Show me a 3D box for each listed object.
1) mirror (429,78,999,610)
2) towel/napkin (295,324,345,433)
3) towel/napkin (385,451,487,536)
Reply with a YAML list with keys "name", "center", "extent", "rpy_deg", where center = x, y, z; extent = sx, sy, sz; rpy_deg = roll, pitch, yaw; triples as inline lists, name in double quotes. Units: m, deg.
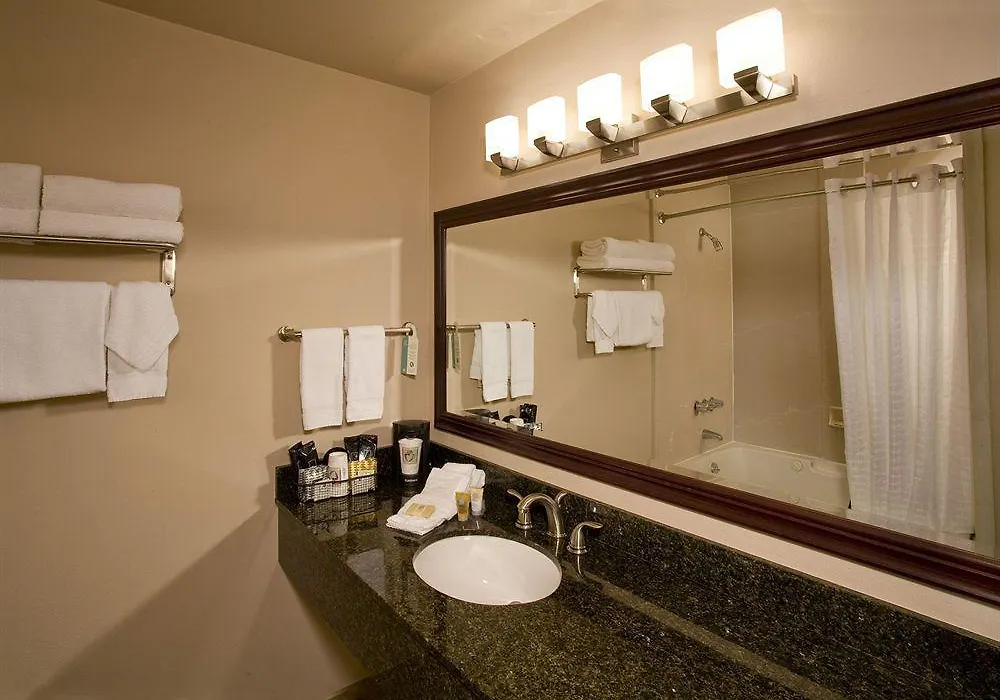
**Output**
- name: "mirror"
  center: [0.668, -0.001, 2.010]
  extent: [1.723, 1.034, 0.043]
  rpy_deg: [4, 3, 43]
- name: "towel/napkin"
  center: [-0.688, 0.110, 2.613]
  extent: [0.177, 0.380, 0.055]
  rpy_deg: [-7, 6, -44]
- name: "towel/napkin"
  center: [-0.245, 0.506, 2.434]
  extent: [0.182, 0.099, 0.282]
  rpy_deg: [5, 20, 34]
